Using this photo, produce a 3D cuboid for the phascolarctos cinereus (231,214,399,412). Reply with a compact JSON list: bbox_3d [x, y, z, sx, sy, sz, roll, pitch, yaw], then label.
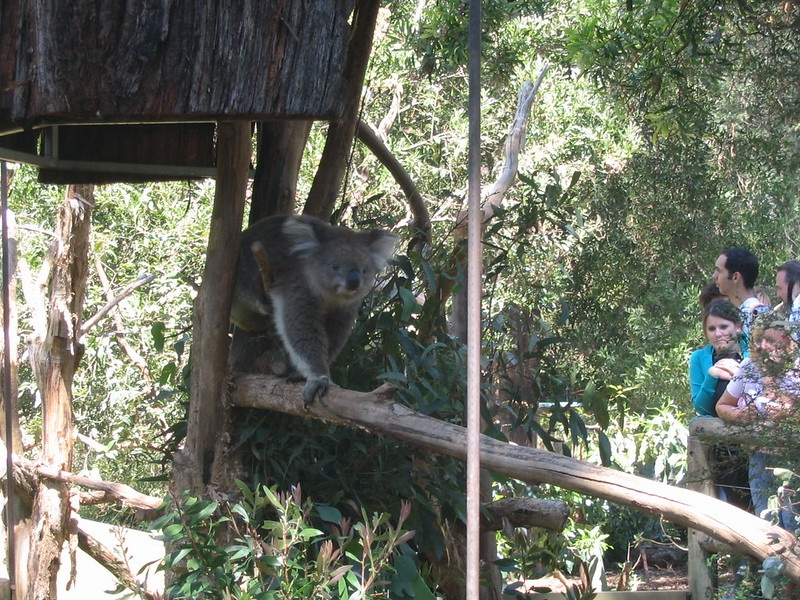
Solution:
[{"bbox_3d":[-0.405,-0.017,4.777,0.767,0.834,0.575,3,-1,-10],"label":"phascolarctos cinereus"}]
